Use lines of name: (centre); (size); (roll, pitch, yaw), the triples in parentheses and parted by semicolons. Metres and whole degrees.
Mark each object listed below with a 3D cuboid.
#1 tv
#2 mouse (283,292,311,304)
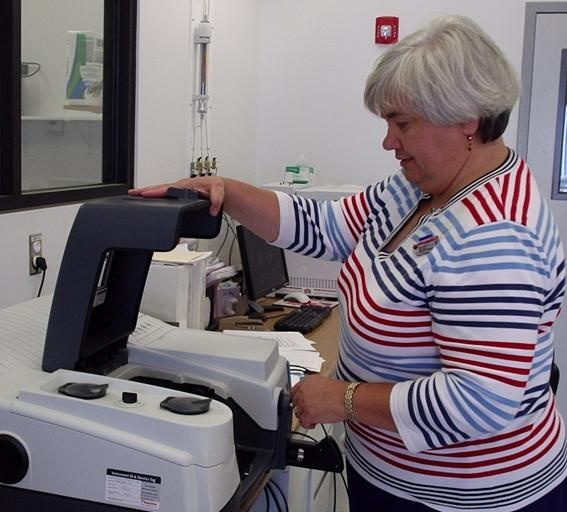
tv: (-0.092, 0.073, 2.269); (0.060, 0.324, 0.449); (-18, -6, 19)
mouse: (0.080, 0.206, 2.618); (0.108, 0.040, 0.061); (6, 4, 22)
